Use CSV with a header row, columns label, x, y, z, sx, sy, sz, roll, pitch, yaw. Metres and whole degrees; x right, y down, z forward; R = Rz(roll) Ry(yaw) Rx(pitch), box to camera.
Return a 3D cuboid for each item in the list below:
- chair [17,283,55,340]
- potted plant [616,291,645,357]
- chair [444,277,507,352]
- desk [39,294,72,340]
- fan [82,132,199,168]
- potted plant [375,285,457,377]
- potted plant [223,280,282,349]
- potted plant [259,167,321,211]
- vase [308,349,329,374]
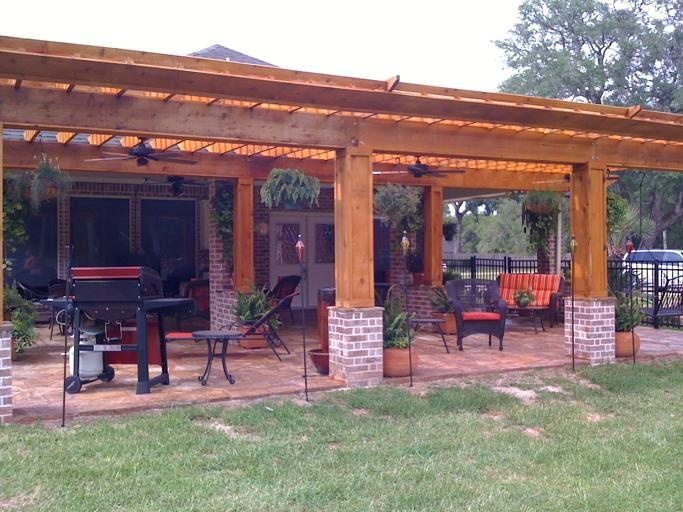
label,x,y,z,sx,sy,sz,roll,pitch,yaw
chair,-5.583,1.020,12.556,0.564,1.000,0.581,1,4,-36
potted plant,4.780,1.135,11.421,0.406,1.040,1.058,-3,-5,24
chair,2.371,1.003,12.089,0.810,1.243,1.015,0,0,-2
desk,-3.692,0.793,9.159,0.402,0.503,0.515,5,3,-26
fan,-3.073,-1.641,10.972,1.732,0.509,1.055,-5,-6,37
potted plant,0.846,1.142,9.983,1.024,1.495,0.966,3,4,42
potted plant,-1.385,1.052,11.792,0.814,1.216,0.871,2,4,-31
potted plant,-0.803,-1.094,10.756,0.868,0.632,0.413,-1,-4,-10
vase,-0.318,1.464,9.591,0.291,0.217,0.299,0,1,-6
